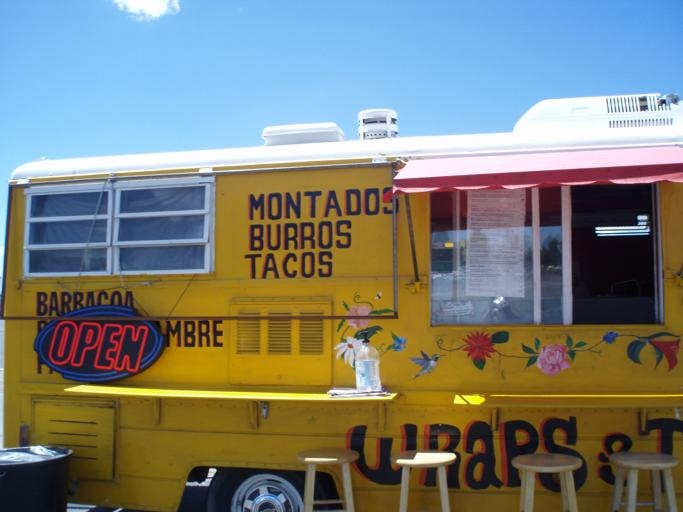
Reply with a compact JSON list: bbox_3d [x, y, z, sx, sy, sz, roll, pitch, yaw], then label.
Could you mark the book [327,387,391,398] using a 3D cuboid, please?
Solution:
[{"bbox_3d":[0.158,1.234,10.215,0.548,0.109,0.279,-2,-10,3],"label":"book"}]
